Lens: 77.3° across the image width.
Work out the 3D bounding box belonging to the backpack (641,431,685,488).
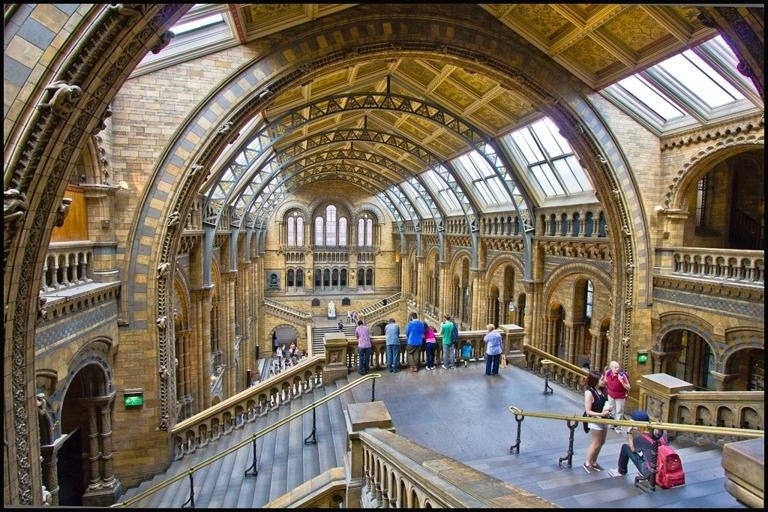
[{"bbox_3d":[4.878,3.576,8.350,0.596,0.794,0.461,4,-6,-32],"label":"backpack"}]

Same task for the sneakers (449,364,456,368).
[{"bbox_3d":[2.149,3.445,14.987,0.177,0.121,0.104,10,-16,-34],"label":"sneakers"}]

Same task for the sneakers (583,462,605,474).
[{"bbox_3d":[4.143,4.181,9.494,0.291,0.107,0.152,-1,3,-13],"label":"sneakers"}]

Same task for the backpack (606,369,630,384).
[{"bbox_3d":[5.346,2.763,11.058,0.340,0.176,0.429,11,-4,8],"label":"backpack"}]

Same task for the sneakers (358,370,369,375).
[{"bbox_3d":[-0.621,3.461,14.332,0.182,0.198,0.492,3,-15,-12],"label":"sneakers"}]

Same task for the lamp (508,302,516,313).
[{"bbox_3d":[6.796,2.706,25.641,0.491,0.308,0.506,-1,0,13],"label":"lamp"}]
